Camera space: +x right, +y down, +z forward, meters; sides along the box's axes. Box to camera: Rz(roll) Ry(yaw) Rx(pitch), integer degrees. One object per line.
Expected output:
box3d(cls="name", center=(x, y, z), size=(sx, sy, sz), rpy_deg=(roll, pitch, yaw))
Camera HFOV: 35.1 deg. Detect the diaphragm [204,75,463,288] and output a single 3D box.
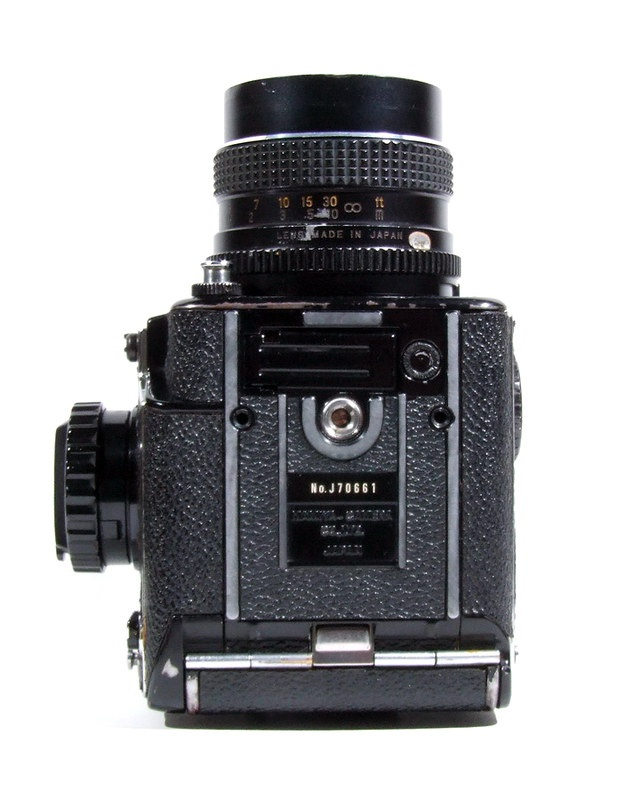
box3d(cls="diaphragm", center=(0.030, -0.364, 1.825), size=(0.430, 0.417, 0.370), rpy_deg=(0, -90, -5))
